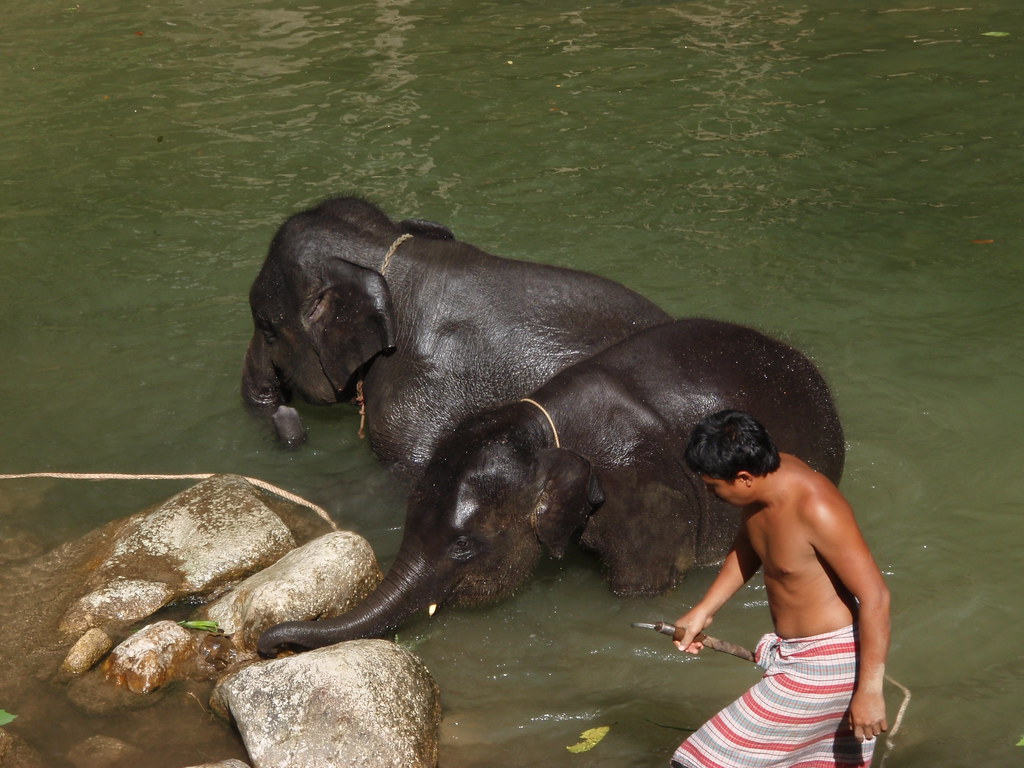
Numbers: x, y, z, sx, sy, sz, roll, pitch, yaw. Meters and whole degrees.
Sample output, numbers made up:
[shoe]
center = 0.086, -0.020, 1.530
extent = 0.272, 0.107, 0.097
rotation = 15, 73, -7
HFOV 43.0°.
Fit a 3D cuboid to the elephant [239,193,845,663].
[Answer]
[elephant]
center = 0.549, 0.327, 9.172
extent = 4.681, 2.039, 1.488
rotation = -23, 49, -5
